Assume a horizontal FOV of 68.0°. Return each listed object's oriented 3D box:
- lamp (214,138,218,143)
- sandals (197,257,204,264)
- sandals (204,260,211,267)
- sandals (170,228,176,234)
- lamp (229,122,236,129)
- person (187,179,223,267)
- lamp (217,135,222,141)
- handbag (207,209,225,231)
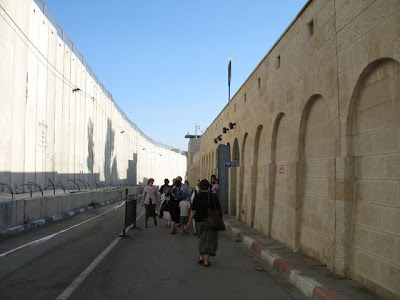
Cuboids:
[{"bbox_3d":[1.502,-0.839,26.984,0.343,0.380,0.264,-8,-8,44],"label":"lamp"},{"bbox_3d":[0.026,3.011,8.075,0.110,0.134,0.284,2,-8,-3],"label":"sandals"},{"bbox_3d":[0.211,2.987,7.800,0.188,0.125,0.220,1,-5,0],"label":"sandals"},{"bbox_3d":[-1.095,3.419,12.415,0.249,0.161,0.313,2,-5,-7],"label":"sandals"},{"bbox_3d":[2.114,-1.588,19.252,0.346,0.392,0.314,-3,1,-5],"label":"lamp"},{"bbox_3d":[0.205,1.958,8.222,0.947,2.280,0.704,-3,-5,42],"label":"person"},{"bbox_3d":[1.640,-0.987,23.985,0.250,0.396,0.357,2,4,17],"label":"lamp"},{"bbox_3d":[0.414,1.906,8.044,0.547,0.627,0.239,16,-18,-32],"label":"handbag"}]
